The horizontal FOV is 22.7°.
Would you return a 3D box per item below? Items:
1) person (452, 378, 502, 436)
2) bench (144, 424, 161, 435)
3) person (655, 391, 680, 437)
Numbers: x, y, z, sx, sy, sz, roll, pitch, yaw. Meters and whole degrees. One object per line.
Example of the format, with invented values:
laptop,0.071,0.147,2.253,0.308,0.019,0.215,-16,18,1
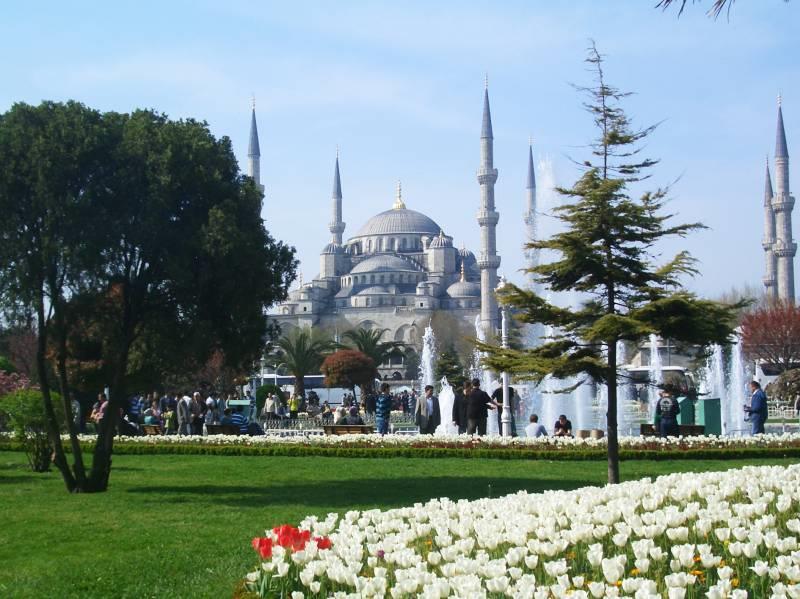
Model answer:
person,1.612,2.348,41.528,0.614,1.198,1.251,2,-8,-15
bench,-5.571,3.010,44.900,0.326,0.226,0.085,-1,7,19
person,5.490,2.405,40.893,0.469,1.009,1.339,-1,-8,7
